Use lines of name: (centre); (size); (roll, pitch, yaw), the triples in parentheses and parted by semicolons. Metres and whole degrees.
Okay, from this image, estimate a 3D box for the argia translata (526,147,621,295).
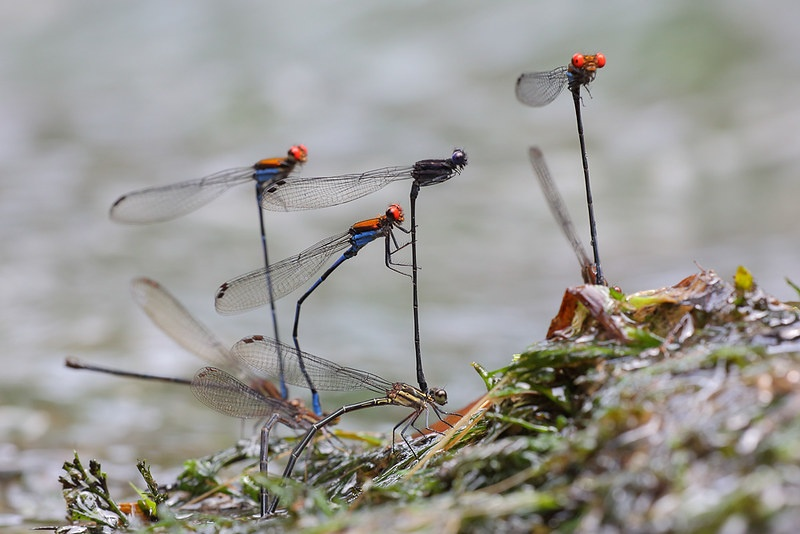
argia translata: (0.410, -0.092, 2.155); (0.131, 0.392, 0.036); (-20, 1, 35)
